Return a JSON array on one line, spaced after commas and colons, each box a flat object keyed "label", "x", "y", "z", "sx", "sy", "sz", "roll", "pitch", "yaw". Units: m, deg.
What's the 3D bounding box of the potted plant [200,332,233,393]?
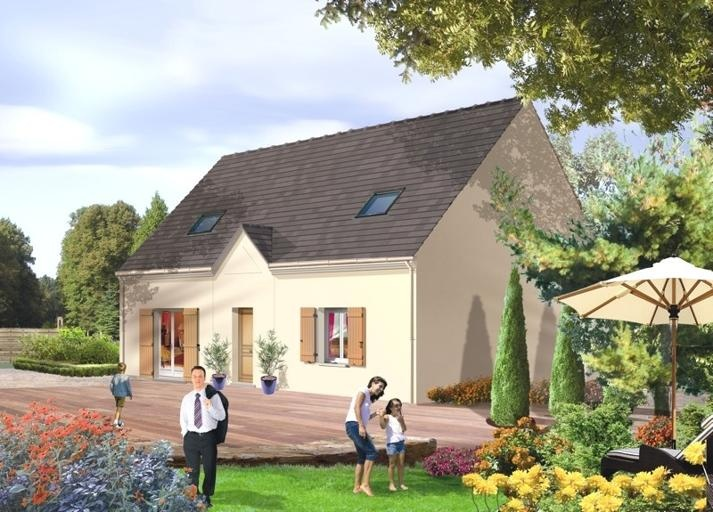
[{"label": "potted plant", "x": -5.102, "y": 3.984, "z": 29.406, "sx": 0.951, "sy": 1.871, "sz": 0.832, "roll": 3, "pitch": -4, "yaw": -35}]

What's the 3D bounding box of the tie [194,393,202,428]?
[{"label": "tie", "x": -2.797, "y": 2.742, "z": 14.033, "sx": 0.146, "sy": 0.579, "sz": 0.064, "roll": 1, "pitch": -8, "yaw": 3}]

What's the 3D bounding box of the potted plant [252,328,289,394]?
[{"label": "potted plant", "x": -2.986, "y": 3.738, "z": 28.007, "sx": 1.014, "sy": 2.296, "sz": 1.376, "roll": 4, "pitch": -9, "yaw": -18}]
